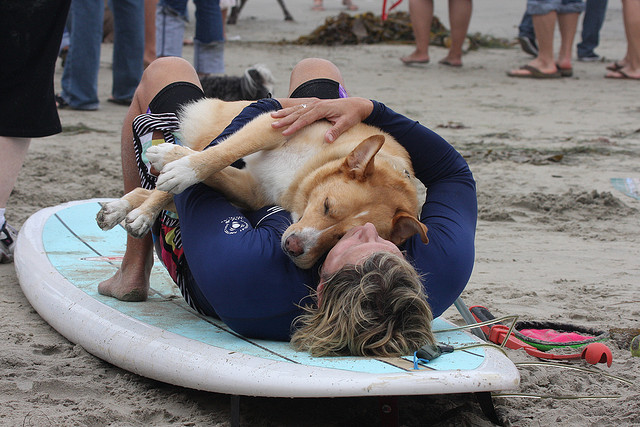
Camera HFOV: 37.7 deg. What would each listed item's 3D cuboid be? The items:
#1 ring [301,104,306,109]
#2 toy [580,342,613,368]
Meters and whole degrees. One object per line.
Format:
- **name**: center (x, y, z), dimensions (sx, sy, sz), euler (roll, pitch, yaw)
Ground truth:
- **ring**: center (-0.101, -0.661, 5.841), dimensions (0.036, 0.005, 0.031), euler (5, 30, 16)
- **toy**: center (1.731, 0.883, 5.848), dimensions (0.172, 0.108, 0.127), euler (4, -4, 33)
